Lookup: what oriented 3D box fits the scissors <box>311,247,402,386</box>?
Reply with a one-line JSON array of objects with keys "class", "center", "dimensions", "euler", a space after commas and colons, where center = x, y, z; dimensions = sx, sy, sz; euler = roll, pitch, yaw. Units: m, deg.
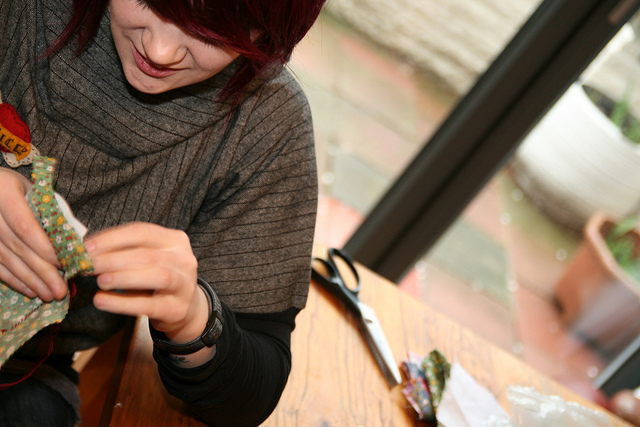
[{"class": "scissors", "center": [0.097, 0.279, 1.543], "dimensions": [0.145, 0.020, 0.443], "euler": [3, 35, -28]}]
